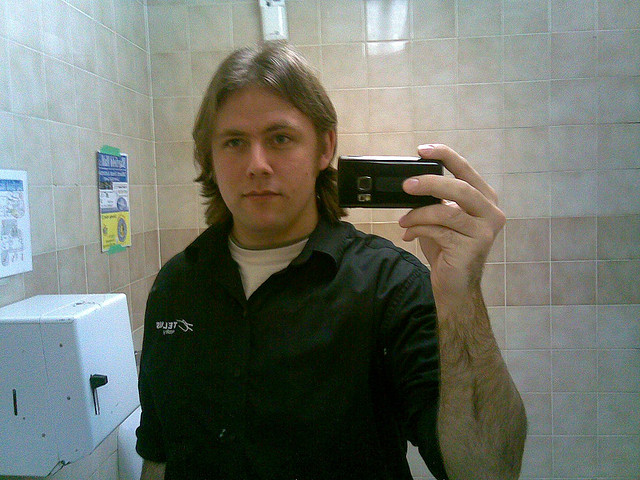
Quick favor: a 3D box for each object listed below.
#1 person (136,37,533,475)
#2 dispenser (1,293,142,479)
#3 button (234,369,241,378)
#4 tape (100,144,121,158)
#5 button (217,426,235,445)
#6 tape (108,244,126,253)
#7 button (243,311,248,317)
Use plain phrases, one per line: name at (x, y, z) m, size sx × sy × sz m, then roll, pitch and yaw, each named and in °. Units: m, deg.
person at (0.000, 0.081, 1.454) m, size 1.040 × 1.180 × 0.407 m, roll 5°, pitch 13°, yaw 22°
dispenser at (-0.816, 0.449, 1.818) m, size 0.415 × 0.519 × 0.284 m, roll -5°, pitch 13°, yaw -21°
button at (-0.219, 0.340, 1.454) m, size 0.017 × 0.017 × 0.008 m, roll 1°, pitch 12°, yaw 3°
tape at (-0.727, -0.305, 1.928) m, size 0.034 × 0.039 × 0.100 m, roll -11°, pitch 17°, yaw -41°
button at (-0.248, 0.495, 1.442) m, size 0.046 × 0.046 × 0.010 m, roll 1°, pitch 4°, yaw 11°
tape at (-0.728, 0.030, 1.991) m, size 0.041 × 0.040 × 0.010 m, roll 3°, pitch 7°, yaw 16°
button at (-0.202, 0.192, 1.484) m, size 0.011 × 0.011 × 0.003 m, roll 4°, pitch -3°, yaw 10°
